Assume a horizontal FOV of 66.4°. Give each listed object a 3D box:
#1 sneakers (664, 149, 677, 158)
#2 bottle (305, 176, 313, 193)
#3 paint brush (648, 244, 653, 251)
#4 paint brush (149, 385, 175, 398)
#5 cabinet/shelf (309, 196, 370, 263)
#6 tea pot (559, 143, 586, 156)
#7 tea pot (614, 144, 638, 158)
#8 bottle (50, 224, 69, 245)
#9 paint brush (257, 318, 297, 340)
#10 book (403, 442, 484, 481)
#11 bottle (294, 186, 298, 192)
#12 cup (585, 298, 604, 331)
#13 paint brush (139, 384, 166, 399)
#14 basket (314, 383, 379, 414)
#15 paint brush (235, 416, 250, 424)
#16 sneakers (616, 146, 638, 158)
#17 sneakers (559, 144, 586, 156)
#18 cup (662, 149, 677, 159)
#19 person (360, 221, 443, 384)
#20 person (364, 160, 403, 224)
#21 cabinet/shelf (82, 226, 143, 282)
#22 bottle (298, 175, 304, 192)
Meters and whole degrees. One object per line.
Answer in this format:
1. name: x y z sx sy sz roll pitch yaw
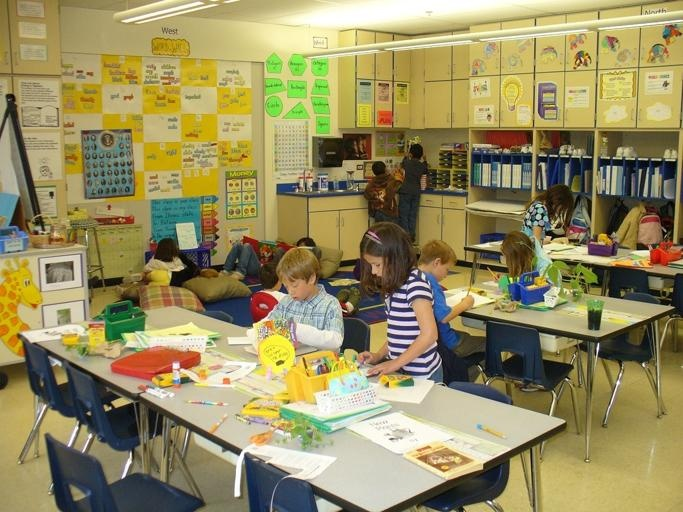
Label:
1. sneakers: 4.189 -1.287 6.622 0.143 0.134 0.206 5 10 31
2. bottle: -0.551 -1.201 8.643 0.125 0.238 0.300 0 9 -4
3. paint brush: 3.097 -0.087 5.215 0.022 0.083 0.087 15 12 29
4. paint brush: -0.796 0.596 2.283 0.045 0.007 0.150 -7 9 -37
5. cabinet/shelf: -0.103 -0.416 7.766 0.980 0.914 0.372 -6 15 -28
6. tea pot: 3.322 -1.519 7.487 0.243 0.119 0.348 5 11 28
7. tea pot: 3.829 -1.396 6.990 0.231 0.114 0.318 1 9 30
8. bottle: -2.540 -0.190 4.662 0.185 0.160 0.208 -1 2 -8
9. paint brush: -0.317 0.337 2.512 0.126 0.109 0.037 0 9 19
10. book: 0.336 0.672 1.723 0.176 0.028 0.204 -6 11 -39
11. bottle: -0.774 -1.107 8.611 0.096 0.096 0.053 5 14 17
12. cup: 1.606 0.353 3.305 0.088 0.189 0.214 5 10 26
13. paint brush: -0.833 0.592 2.290 0.050 0.018 0.207 -8 10 -33
14. basket: 0.026 0.537 2.018 0.212 0.069 0.100 -10 4 -30
15. paint brush: -0.390 0.632 2.032 0.033 0.009 0.033 0 7 13
16. sneakers: 3.794 -1.361 6.928 0.162 0.082 0.225 3 9 37
17. sneakers: 3.317 -1.515 7.472 0.218 0.109 0.313 6 11 32
18. cup: 4.187 -1.289 6.625 0.126 0.160 0.074 8 -9 29
19. person: 0.288 0.248 2.552 0.413 0.833 0.485 2 9 10
20. person: 0.694 -1.061 8.716 0.549 0.989 0.553 8 11 40
21. cabinet/shelf: -3.085 -0.038 6.906 0.659 0.613 0.226 -9 20 -30
22. bottle: -0.688 -1.183 8.557 0.099 0.227 0.221 -1 9 -8
